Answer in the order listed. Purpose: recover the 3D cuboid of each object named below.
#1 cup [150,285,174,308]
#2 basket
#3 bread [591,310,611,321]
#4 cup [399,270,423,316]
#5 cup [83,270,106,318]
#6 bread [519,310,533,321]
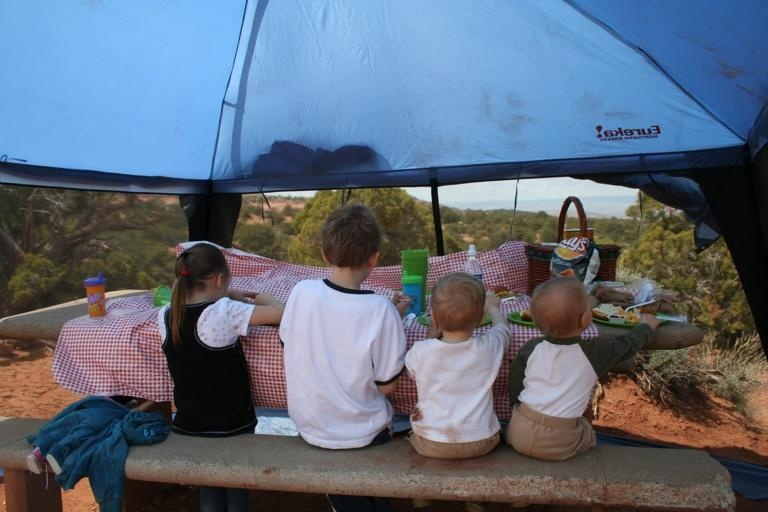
[{"bbox_3d":[-1.716,0.319,4.639,0.107,0.119,0.095,12,47,-20],"label":"cup"},{"bbox_3d":[1.494,-0.077,4.908,0.566,0.905,0.832,-1,-3,3],"label":"basket"},{"bbox_3d":[1.561,0.425,4.337,0.070,0.029,0.079,9,41,15],"label":"bread"},{"bbox_3d":[0.211,0.264,4.344,0.213,0.375,0.231,0,-5,0],"label":"cup"},{"bbox_3d":[-2.234,0.287,4.670,0.140,0.324,0.291,-3,11,-26],"label":"cup"},{"bbox_3d":[1.012,0.417,4.279,0.060,0.039,0.065,9,16,4],"label":"bread"}]
